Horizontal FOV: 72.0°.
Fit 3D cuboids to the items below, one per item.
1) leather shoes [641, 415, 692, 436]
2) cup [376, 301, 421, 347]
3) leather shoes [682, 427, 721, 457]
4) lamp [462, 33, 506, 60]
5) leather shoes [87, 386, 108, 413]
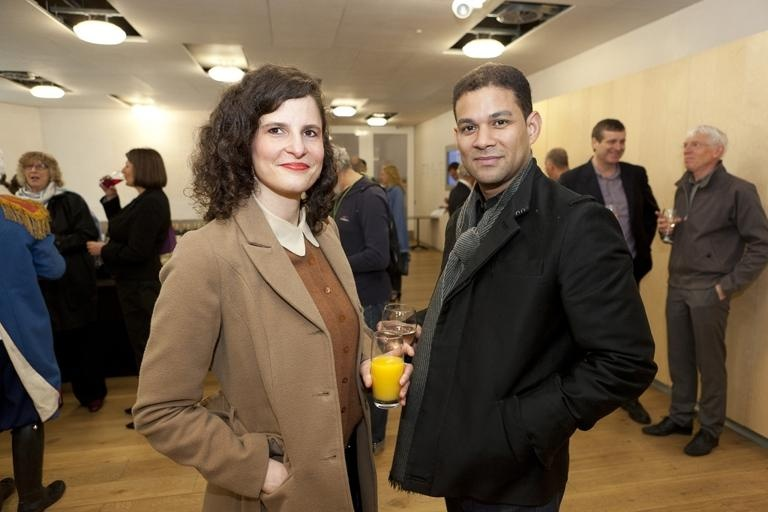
[{"bbox_3d":[2.259,1.358,4.255,0.435,0.193,0.152,1,-2,2],"label":"leather shoes"},{"bbox_3d":[0.068,0.339,2.697,0.192,0.216,0.197,6,-1,0],"label":"cup"},{"bbox_3d":[2.402,1.397,3.964,0.352,0.154,0.127,0,-6,-41],"label":"leather shoes"},{"bbox_3d":[1.039,-2.194,5.588,0.396,0.185,0.252,0,10,-3],"label":"lamp"},{"bbox_3d":[-2.568,1.262,4.674,0.087,0.101,0.247,6,52,-16],"label":"leather shoes"}]
